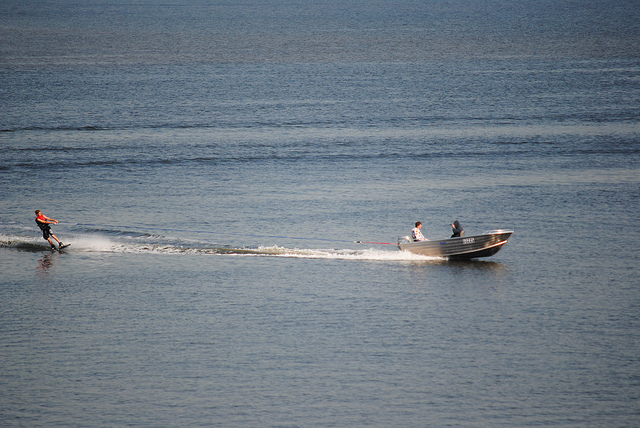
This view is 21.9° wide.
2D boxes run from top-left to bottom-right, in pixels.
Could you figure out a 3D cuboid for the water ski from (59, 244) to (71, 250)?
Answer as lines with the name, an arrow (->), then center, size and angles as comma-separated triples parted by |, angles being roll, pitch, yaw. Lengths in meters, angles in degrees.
water ski -> -29.135, 3.665, 188.151 | 1.595, 0.204, 0.156 | -18, -77, 2
